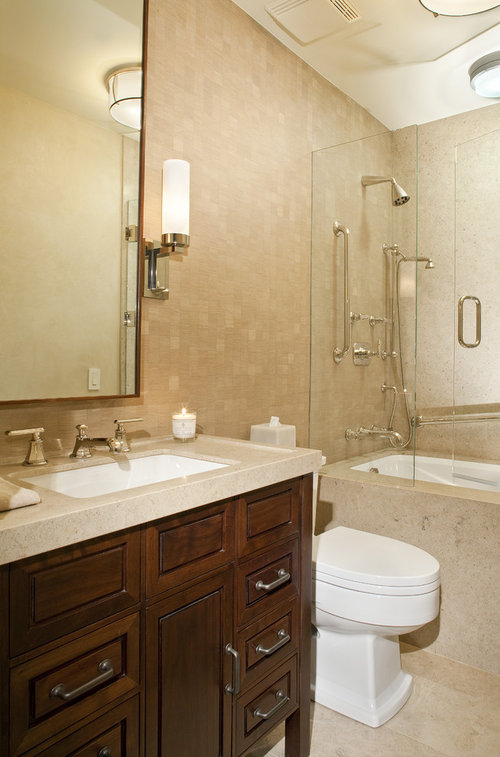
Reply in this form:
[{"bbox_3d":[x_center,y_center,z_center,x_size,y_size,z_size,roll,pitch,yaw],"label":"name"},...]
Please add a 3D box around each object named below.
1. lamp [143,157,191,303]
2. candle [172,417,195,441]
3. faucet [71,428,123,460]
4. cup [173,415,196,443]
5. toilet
[{"bbox_3d":[-0.216,-0.404,1.652,0.131,0.370,0.123,4,3,31],"label":"lamp"},{"bbox_3d":[-0.172,0.124,1.589,0.053,0.071,0.056,7,9,37],"label":"candle"},{"bbox_3d":[-0.347,0.137,1.359,0.133,0.087,0.060,-2,5,-33],"label":"faucet"},{"bbox_3d":[-0.185,0.132,1.623,0.054,0.078,0.061,6,9,32],"label":"cup"},{"bbox_3d":[0.330,0.731,1.776,0.450,0.503,0.325,8,14,44],"label":"toilet"}]
